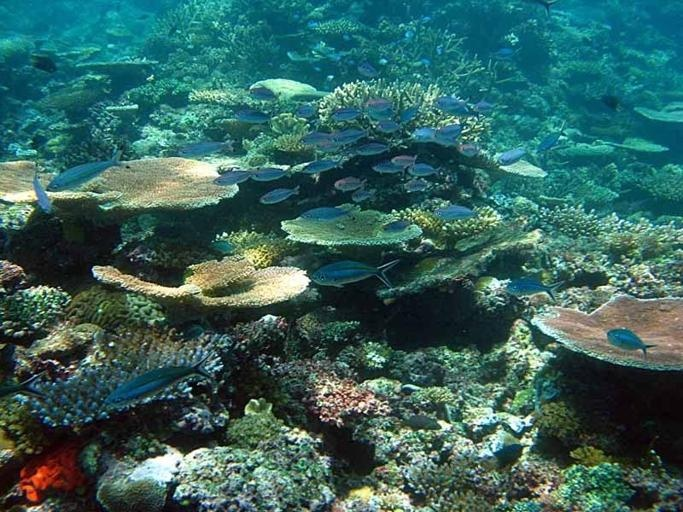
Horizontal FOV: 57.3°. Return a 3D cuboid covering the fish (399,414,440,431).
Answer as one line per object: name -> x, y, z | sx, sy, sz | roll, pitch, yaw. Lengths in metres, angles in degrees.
fish -> 1.890, 3.948, 14.820 | 0.584, 0.128, 0.496 | 12, -2, 20
